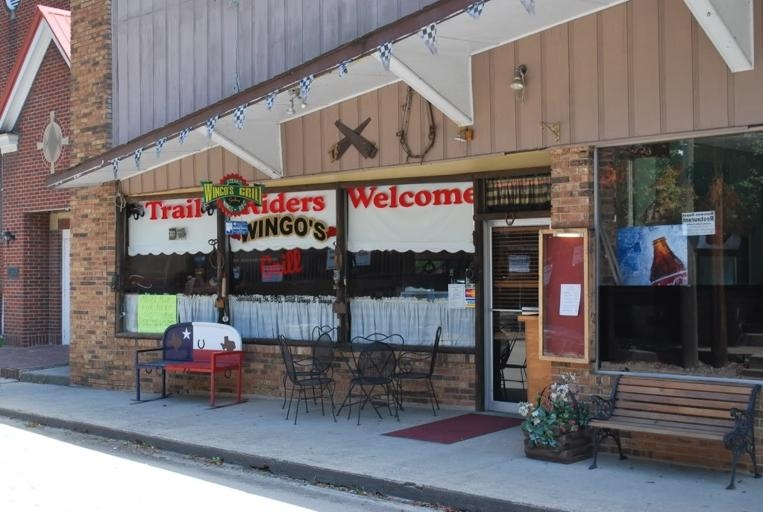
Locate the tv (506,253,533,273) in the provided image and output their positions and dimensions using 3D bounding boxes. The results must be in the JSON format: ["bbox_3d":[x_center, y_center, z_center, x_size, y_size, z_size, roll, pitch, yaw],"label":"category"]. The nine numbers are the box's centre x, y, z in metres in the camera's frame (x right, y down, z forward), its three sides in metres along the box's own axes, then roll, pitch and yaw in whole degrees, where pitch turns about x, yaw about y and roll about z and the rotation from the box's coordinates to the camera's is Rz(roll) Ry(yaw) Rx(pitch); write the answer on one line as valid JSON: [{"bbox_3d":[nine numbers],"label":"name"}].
[{"bbox_3d":[2.251,0.124,13.224,0.276,0.277,0.096,2,1,30],"label":"tv"}]

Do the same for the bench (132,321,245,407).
[{"bbox_3d":[-3.436,1.966,14.576,1.723,1.530,1.014,-1,-4,23],"label":"bench"}]

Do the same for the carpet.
[{"bbox_3d":[1.148,2.613,12.349,2.084,0.246,1.059,3,-5,-38],"label":"carpet"}]

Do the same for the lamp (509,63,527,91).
[{"bbox_3d":[1.992,-2.602,11.819,0.239,0.409,0.365,-1,-4,9],"label":"lamp"}]

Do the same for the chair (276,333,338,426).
[{"bbox_3d":[-1.180,2.042,13.825,1.150,2.096,1.046,-2,-1,-13],"label":"chair"}]

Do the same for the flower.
[{"bbox_3d":[2.354,2.152,11.182,0.722,0.994,1.052,3,2,40],"label":"flower"}]

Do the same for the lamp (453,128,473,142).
[{"bbox_3d":[1.273,-1.833,12.423,0.218,0.111,0.162,-15,15,-39],"label":"lamp"}]
